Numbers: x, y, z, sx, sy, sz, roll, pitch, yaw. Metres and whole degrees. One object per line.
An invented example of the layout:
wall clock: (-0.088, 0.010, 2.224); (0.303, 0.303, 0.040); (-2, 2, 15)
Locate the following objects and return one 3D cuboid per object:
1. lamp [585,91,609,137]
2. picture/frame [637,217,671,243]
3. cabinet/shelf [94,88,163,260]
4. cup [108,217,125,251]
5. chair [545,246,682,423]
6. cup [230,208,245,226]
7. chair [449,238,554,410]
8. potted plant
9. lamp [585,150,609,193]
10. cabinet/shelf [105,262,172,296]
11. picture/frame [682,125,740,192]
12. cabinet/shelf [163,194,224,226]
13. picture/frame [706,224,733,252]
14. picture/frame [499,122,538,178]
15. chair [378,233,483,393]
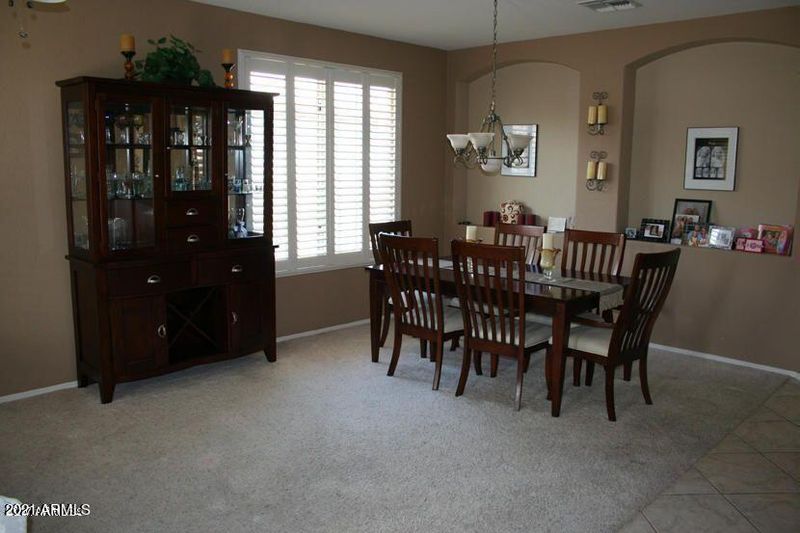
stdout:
lamp: (2.021, -1.555, 5.671); (0.206, 0.420, 0.138); (5, 13, 19)
picture/frame: (2.608, -0.363, 5.665); (0.234, 0.269, 0.028); (-8, -20, 24)
cabinet/shelf: (-2.111, -0.701, 4.287); (0.400, 1.121, 0.150); (-6, 14, -28)
cup: (-2.236, -0.249, 4.346); (0.175, 0.246, 0.179); (0, 3, 0)
chair: (1.658, 0.495, 4.379); (0.867, 1.268, 0.878); (4, 10, 25)
cup: (-1.420, -0.422, 4.809); (0.118, 0.199, 0.140); (-1, -8, -1)
chair: (0.842, 0.412, 4.439); (0.664, 1.313, 0.633); (6, 16, 32)
potted plant: (-1.876, -1.650, 4.557); (0.575, 0.344, 0.582); (13, 24, 14)
lamp: (2.032, -0.977, 5.734); (0.222, 0.407, 0.143); (5, 14, 21)
cabinet/shelf: (-2.085, 0.091, 4.364); (0.217, 0.258, 0.407); (10, 12, 42)
picture/frame: (3.050, -1.045, 5.394); (0.558, 0.802, 0.027); (10, 12, 41)
cabinet/shelf: (-1.729, -0.472, 4.565); (0.237, 0.243, 0.374); (9, 13, 44)
picture/frame: (3.085, -0.259, 5.341); (0.237, 0.243, 0.034); (-7, -7, 37)
picture/frame: (1.375, -1.347, 6.490); (0.416, 0.644, 0.043); (3, -10, 5)
chair: (0.281, 0.348, 4.780); (0.736, 1.241, 0.797); (3, 10, 21)
